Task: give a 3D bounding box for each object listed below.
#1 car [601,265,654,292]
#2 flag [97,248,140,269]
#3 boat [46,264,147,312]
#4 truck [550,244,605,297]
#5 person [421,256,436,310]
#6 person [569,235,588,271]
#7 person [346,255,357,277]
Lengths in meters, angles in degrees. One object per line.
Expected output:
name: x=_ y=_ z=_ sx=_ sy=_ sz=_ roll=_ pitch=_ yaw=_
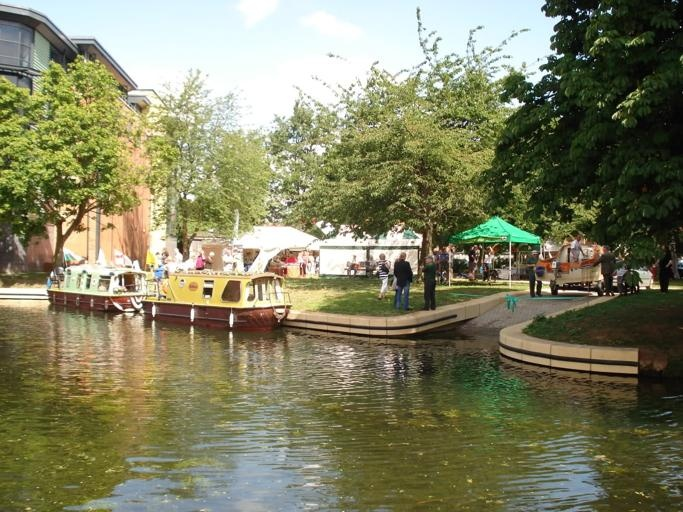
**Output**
car: x=10.479 y=0.885 z=22.903 sx=1.208 sy=0.915 sz=2.706 roll=1 pitch=4 yaw=44
flag: x=-15.809 y=0.179 z=43.237 sx=1.726 sy=1.877 sz=5.673 roll=1 pitch=-2 yaw=-41
boat: x=-12.832 y=1.736 z=32.485 sx=5.928 sy=2.262 sz=1.724 roll=2 pitch=5 yaw=32
truck: x=11.011 y=0.635 z=28.730 sx=1.834 sy=1.368 sz=3.024 roll=2 pitch=4 yaw=30
person: x=3.547 y=1.076 z=24.884 sx=0.489 sy=2.152 sz=1.326 roll=0 pitch=4 yaw=7
person: x=10.797 y=-0.181 z=28.239 sx=0.688 sy=1.343 sz=1.894 roll=1 pitch=4 yaw=21
person: x=0.819 y=0.802 z=47.261 sx=0.771 sy=1.531 sz=1.218 roll=-1 pitch=4 yaw=0
